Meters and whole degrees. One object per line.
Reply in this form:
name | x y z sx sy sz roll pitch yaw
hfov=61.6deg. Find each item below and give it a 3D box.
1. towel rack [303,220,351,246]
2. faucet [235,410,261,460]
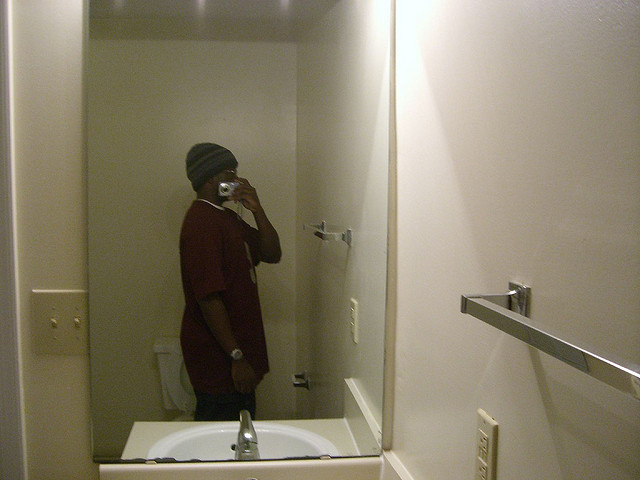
towel rack | 0.021 -0.021 1.484 0.077 0.038 0.077 -4 20 -9
faucet | -0.216 0.560 1.583 0.079 0.097 0.259 3 9 -8
